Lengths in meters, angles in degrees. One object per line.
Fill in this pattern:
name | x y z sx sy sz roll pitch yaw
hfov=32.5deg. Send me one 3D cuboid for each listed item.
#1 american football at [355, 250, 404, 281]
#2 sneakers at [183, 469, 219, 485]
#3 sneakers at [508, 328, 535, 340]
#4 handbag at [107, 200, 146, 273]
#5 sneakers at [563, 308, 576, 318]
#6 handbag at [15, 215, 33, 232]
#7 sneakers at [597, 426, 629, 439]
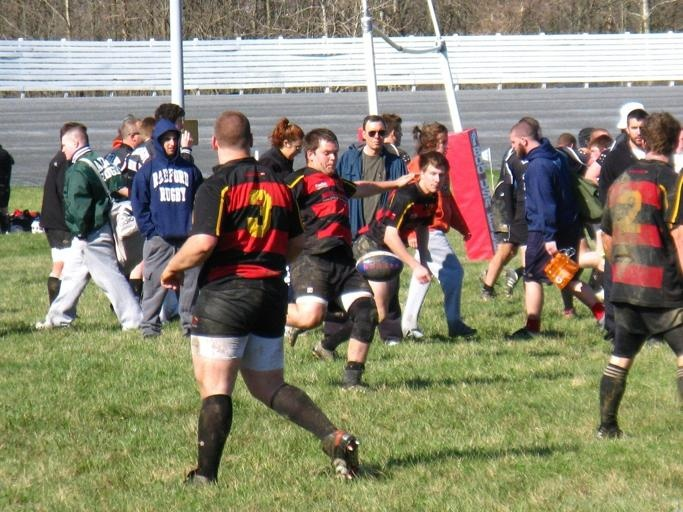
american football | 0.425 0.114 13.842 0.447 0.312 0.317 3 -10 21
sneakers | -1.462 2.225 11.929 0.217 0.143 0.174 -2 -2 -15
sneakers | 2.405 1.007 15.691 0.374 0.198 0.146 5 5 6
handbag | -2.998 -0.325 16.048 0.381 0.796 0.533 -7 40 5
sneakers | 3.259 0.783 16.756 0.152 0.167 0.099 5 5 18
handbag | -6.721 -0.696 24.509 0.332 0.275 0.213 1 27 11
sneakers | 2.931 1.862 12.656 0.321 0.163 0.116 -2 5 6
